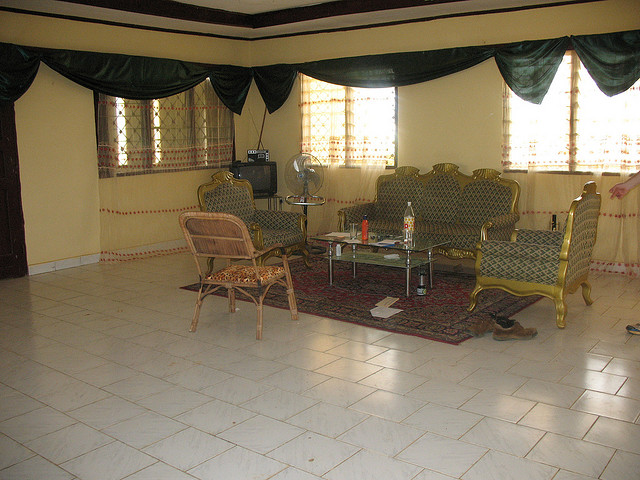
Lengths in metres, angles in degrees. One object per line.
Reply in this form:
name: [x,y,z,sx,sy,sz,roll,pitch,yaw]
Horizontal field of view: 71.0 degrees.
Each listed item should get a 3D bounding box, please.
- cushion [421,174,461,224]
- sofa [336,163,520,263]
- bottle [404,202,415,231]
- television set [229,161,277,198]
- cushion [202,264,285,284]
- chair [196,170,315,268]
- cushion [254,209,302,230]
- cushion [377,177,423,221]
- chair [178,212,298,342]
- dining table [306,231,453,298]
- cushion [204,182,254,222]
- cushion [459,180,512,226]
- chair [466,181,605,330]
cushion: [1.809,-0.582,6.604,0.058,0.783,0.631,5,2,-44]
sofa: [1.591,-0.351,6.187,1.647,0.867,0.633,5,10,32]
bottle: [1.104,-0.289,5.522,0.108,0.339,0.219,1,12,10]
television set: [-1.224,-1.084,8.096,0.810,0.582,0.444,-7,13,-30]
cushion: [-0.725,0.301,4.382,0.701,0.132,0.393,2,12,13]
chair: [-0.906,-0.238,6.096,1.482,1.315,1.423,-5,13,-13]
cushion: [-0.620,-0.288,6.453,0.386,0.431,0.417,6,9,34]
cushion: [1.228,-0.614,6.877,0.727,0.632,0.151,2,-2,37]
chair: [-0.807,0.291,4.558,1.079,1.130,1.018,0,4,7]
dining table: [0.799,0.247,5.659,1.435,0.629,0.841,6,14,32]
cushion: [-1.256,-0.539,6.301,0.548,0.700,0.588,-10,13,-43]
cushion: [2.381,-0.367,6.400,1.172,1.004,0.083,-10,12,-32]
chair: [2.429,0.067,4.862,1.467,1.321,1.426,1,4,9]
